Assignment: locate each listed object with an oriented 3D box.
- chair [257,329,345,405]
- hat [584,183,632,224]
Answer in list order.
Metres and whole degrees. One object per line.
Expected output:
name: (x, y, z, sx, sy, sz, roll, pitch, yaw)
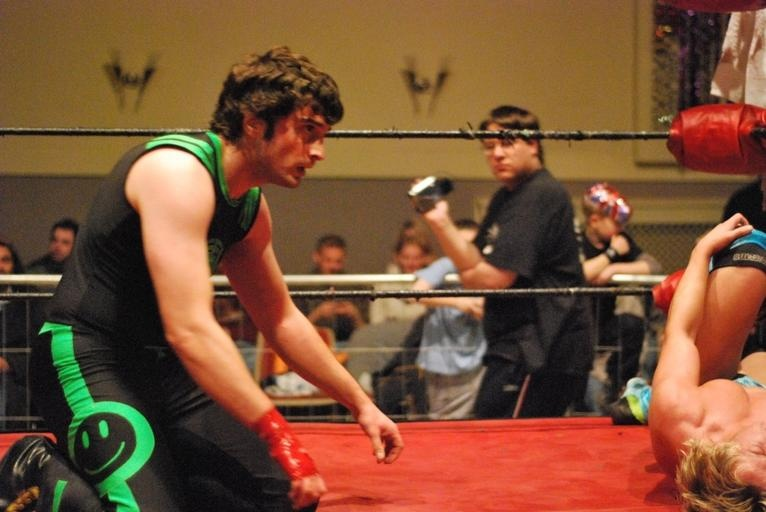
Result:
chair: (-0.601, 0.740, 6.982, 0.611, 0.582, 0.526, 0, -7, -12)
hat: (1.526, -0.386, 7.072, 0.387, 0.136, 0.268, 17, 23, -10)
